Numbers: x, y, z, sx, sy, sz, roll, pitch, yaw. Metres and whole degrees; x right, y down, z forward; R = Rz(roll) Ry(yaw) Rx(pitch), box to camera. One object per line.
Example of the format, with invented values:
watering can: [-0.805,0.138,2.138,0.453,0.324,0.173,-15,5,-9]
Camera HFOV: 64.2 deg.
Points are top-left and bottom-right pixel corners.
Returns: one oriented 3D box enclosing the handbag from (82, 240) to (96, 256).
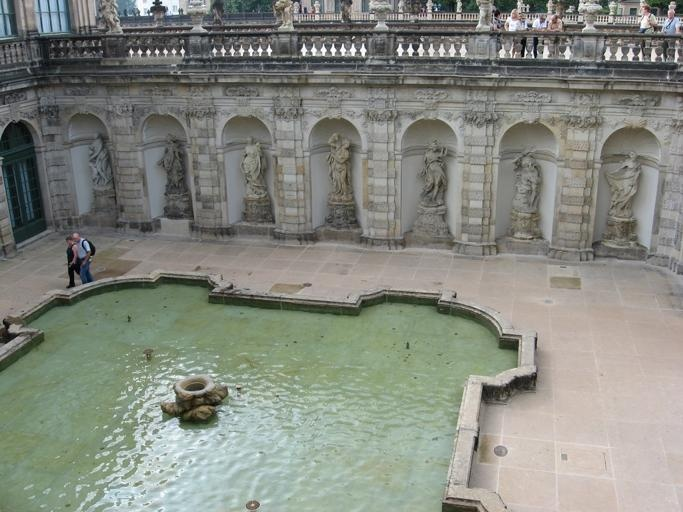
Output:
handbag: [-8.402,-0.268,18.176,0.305,0.644,0.591,-3,17,-6]

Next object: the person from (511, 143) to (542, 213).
person: [6.863,-2.741,20.210,1.051,2.276,0.532,4,18,18]

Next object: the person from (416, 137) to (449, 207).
person: [3.542,-3.122,20.831,1.019,2.512,0.398,1,18,8]

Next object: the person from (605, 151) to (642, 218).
person: [9.981,-2.484,19.348,1.041,2.354,0.457,7,19,25]

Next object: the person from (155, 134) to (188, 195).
person: [-7.023,-3.750,22.952,0.937,2.449,0.522,-5,18,-13]

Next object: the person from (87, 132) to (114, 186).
person: [-10.530,-4.087,23.740,0.977,2.389,0.500,-4,18,-10]

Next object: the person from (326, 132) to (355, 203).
person: [-0.044,-3.435,21.502,0.957,2.708,0.468,-1,18,0]

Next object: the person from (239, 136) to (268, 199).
person: [-3.592,-3.578,22.319,1.006,2.470,0.522,0,18,4]
